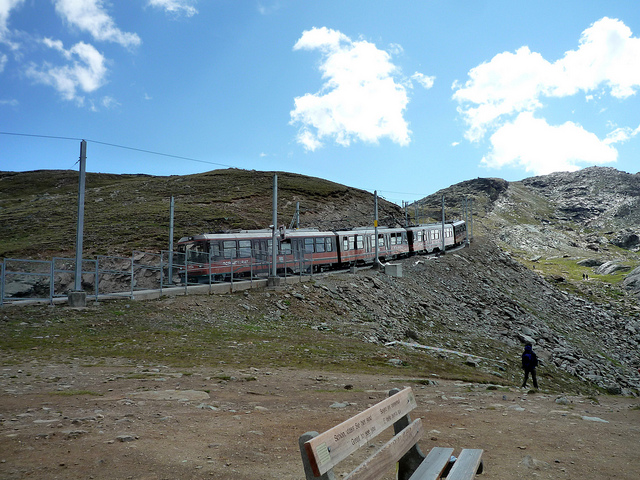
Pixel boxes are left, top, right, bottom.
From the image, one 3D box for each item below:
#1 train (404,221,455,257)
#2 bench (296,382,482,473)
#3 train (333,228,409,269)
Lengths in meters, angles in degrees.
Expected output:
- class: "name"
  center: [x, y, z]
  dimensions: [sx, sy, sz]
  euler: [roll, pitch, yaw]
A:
- class: "train"
  center: [13.601, -0.086, 53.253]
  dimensions: [1.652, 4.796, 12.069]
  euler: [-6, -7, 35]
- class: "bench"
  center: [1.157, 3.269, 7.475]
  dimensions: [1.265, 0.834, 2.753]
  euler: [-6, -8, 31]
- class: "train"
  center: [5.244, 0.647, 43.602]
  dimensions: [0.987, 4.396, 11.407]
  euler: [-7, -8, 42]
